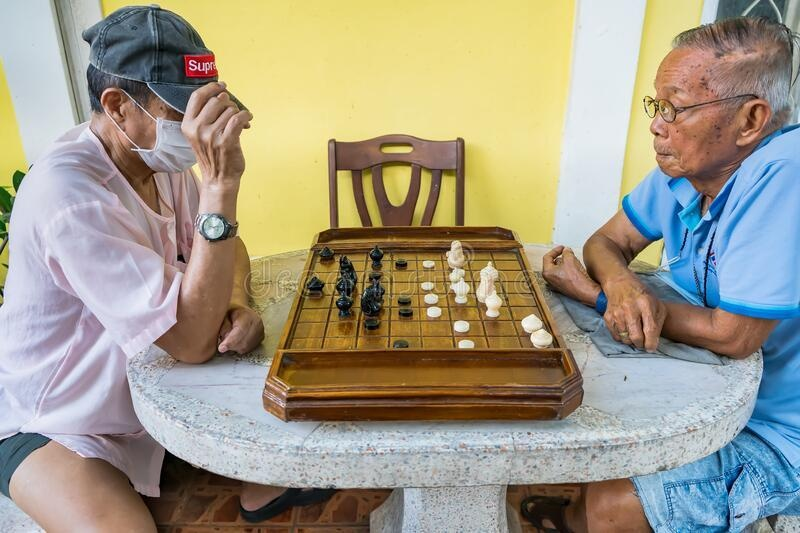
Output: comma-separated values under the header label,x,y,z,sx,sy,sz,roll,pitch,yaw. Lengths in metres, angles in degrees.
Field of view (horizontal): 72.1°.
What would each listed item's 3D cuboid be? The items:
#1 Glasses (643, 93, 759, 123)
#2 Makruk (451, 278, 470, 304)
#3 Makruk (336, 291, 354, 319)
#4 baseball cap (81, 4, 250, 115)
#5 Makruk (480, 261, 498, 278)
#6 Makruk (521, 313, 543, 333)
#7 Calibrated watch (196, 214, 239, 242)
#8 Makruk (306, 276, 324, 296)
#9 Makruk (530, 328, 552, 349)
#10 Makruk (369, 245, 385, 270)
label,x,y,z,sx,sy,sz,roll,pitch,yaw
Glasses,1.199,-0.609,2.225,0.270,0.069,0.246,-11,24,4
Makruk,0.262,0.099,2.374,0.097,0.131,0.094,0,14,0
Makruk,-0.224,0.158,2.255,0.089,0.126,0.086,0,15,-1
baseball cap,-0.972,-0.781,2.282,0.608,0.273,0.403,29,29,-3
Makruk,0.388,0.010,2.409,0.082,0.068,0.079,2,14,7
Makruk,0.514,0.222,2.148,0.074,0.062,0.070,-4,32,-7
Calibrated watch,-0.734,-0.159,2.196,0.151,0.093,0.139,8,4,-28
Makruk,-0.377,0.087,2.413,0.053,0.057,0.095,-1,14,-4
Makruk,0.531,0.271,2.094,0.066,0.056,0.064,-15,30,-25
Makruk,-0.114,-0.043,2.644,0.097,0.144,0.095,0,10,3
